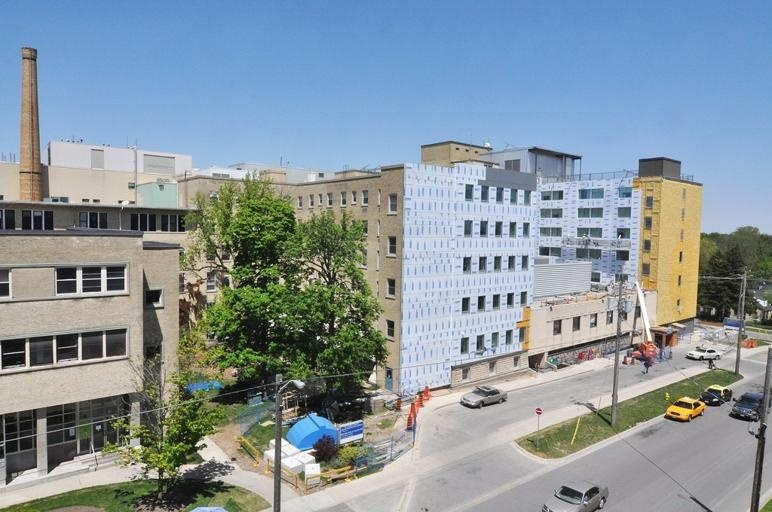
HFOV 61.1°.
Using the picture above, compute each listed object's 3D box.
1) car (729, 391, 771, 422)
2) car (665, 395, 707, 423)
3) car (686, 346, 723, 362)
[{"bbox_3d":[39.936,16.692,72.566,2.915,2.347,3.790,-1,2,34],"label":"car"},{"bbox_3d":[32.701,16.846,71.816,4.473,2.053,1.939,-3,2,-33],"label":"car"},{"bbox_3d":[45.473,14.176,92.848,4.348,1.316,1.946,-4,11,-15],"label":"car"}]
